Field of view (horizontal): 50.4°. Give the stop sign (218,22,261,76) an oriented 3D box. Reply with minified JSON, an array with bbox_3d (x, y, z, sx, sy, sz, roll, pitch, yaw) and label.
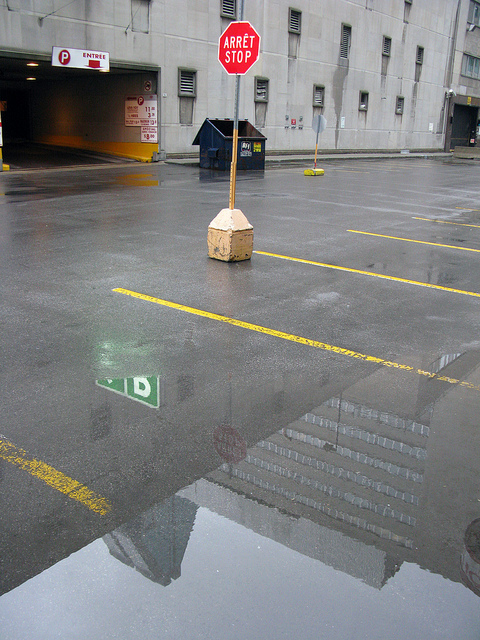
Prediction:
[{"bbox_3d":[-0.033,-4.534,8.430,0.348,0.889,0.965,-9,18,-43],"label":"stop sign"}]

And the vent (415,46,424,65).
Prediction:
[{"bbox_3d":[17.930,-26.982,51.650,0.148,1.650,1.313,15,31,33],"label":"vent"}]

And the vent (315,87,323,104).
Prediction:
[{"bbox_3d":[6.184,-18.243,41.144,0.710,1.836,0.428,-12,22,-31],"label":"vent"}]

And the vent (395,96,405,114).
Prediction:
[{"bbox_3d":[15.743,-21.542,50.865,0.242,1.775,1.723,9,15,35],"label":"vent"}]

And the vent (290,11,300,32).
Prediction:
[{"bbox_3d":[3.929,-22.179,37.649,0.095,1.516,1.068,10,20,24],"label":"vent"}]

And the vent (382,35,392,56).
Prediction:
[{"bbox_3d":[13.422,-25.398,47.055,0.296,1.637,1.476,10,16,39],"label":"vent"}]

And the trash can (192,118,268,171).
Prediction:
[{"bbox_3d":[-0.616,-9.491,27.541,3.528,2.706,2.557,0,14,-10],"label":"trash can"}]

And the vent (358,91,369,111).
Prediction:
[{"bbox_3d":[10.891,-19.868,45.850,0.155,1.592,1.213,13,22,35],"label":"vent"}]

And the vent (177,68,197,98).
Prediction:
[{"bbox_3d":[-3.363,-14.823,31.588,0.441,1.771,1.326,14,20,41],"label":"vent"}]

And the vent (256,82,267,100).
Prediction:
[{"bbox_3d":[1.398,-16.489,36.428,0.150,1.340,0.884,20,32,39],"label":"vent"}]
